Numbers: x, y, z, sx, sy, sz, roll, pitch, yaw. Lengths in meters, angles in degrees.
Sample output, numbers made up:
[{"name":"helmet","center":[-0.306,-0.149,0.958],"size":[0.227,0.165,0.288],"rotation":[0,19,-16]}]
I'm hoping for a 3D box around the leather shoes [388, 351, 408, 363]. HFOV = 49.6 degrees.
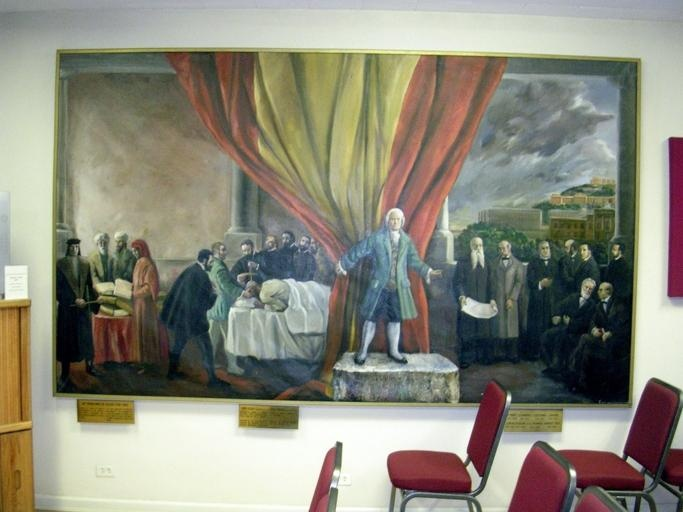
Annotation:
[{"name":"leather shoes","center":[0.486,0.884,6.386],"size":[0.176,0.139,0.067],"rotation":[-1,-3,8]}]
